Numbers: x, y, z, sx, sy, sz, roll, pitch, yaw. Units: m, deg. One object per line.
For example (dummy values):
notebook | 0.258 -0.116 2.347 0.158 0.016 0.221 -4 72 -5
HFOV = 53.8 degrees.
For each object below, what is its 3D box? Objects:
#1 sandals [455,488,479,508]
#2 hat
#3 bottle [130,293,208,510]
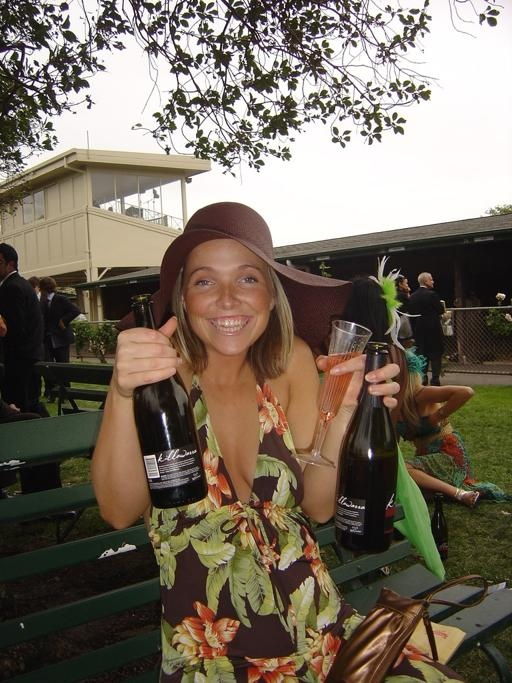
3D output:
sandals | 1.766 1.297 4.219 0.181 0.103 0.075 17 7 29
hat | -0.012 -0.142 1.889 0.581 0.321 0.619 4 -10 42
bottle | -0.246 0.175 1.395 0.176 0.536 0.405 -3 1 -10
